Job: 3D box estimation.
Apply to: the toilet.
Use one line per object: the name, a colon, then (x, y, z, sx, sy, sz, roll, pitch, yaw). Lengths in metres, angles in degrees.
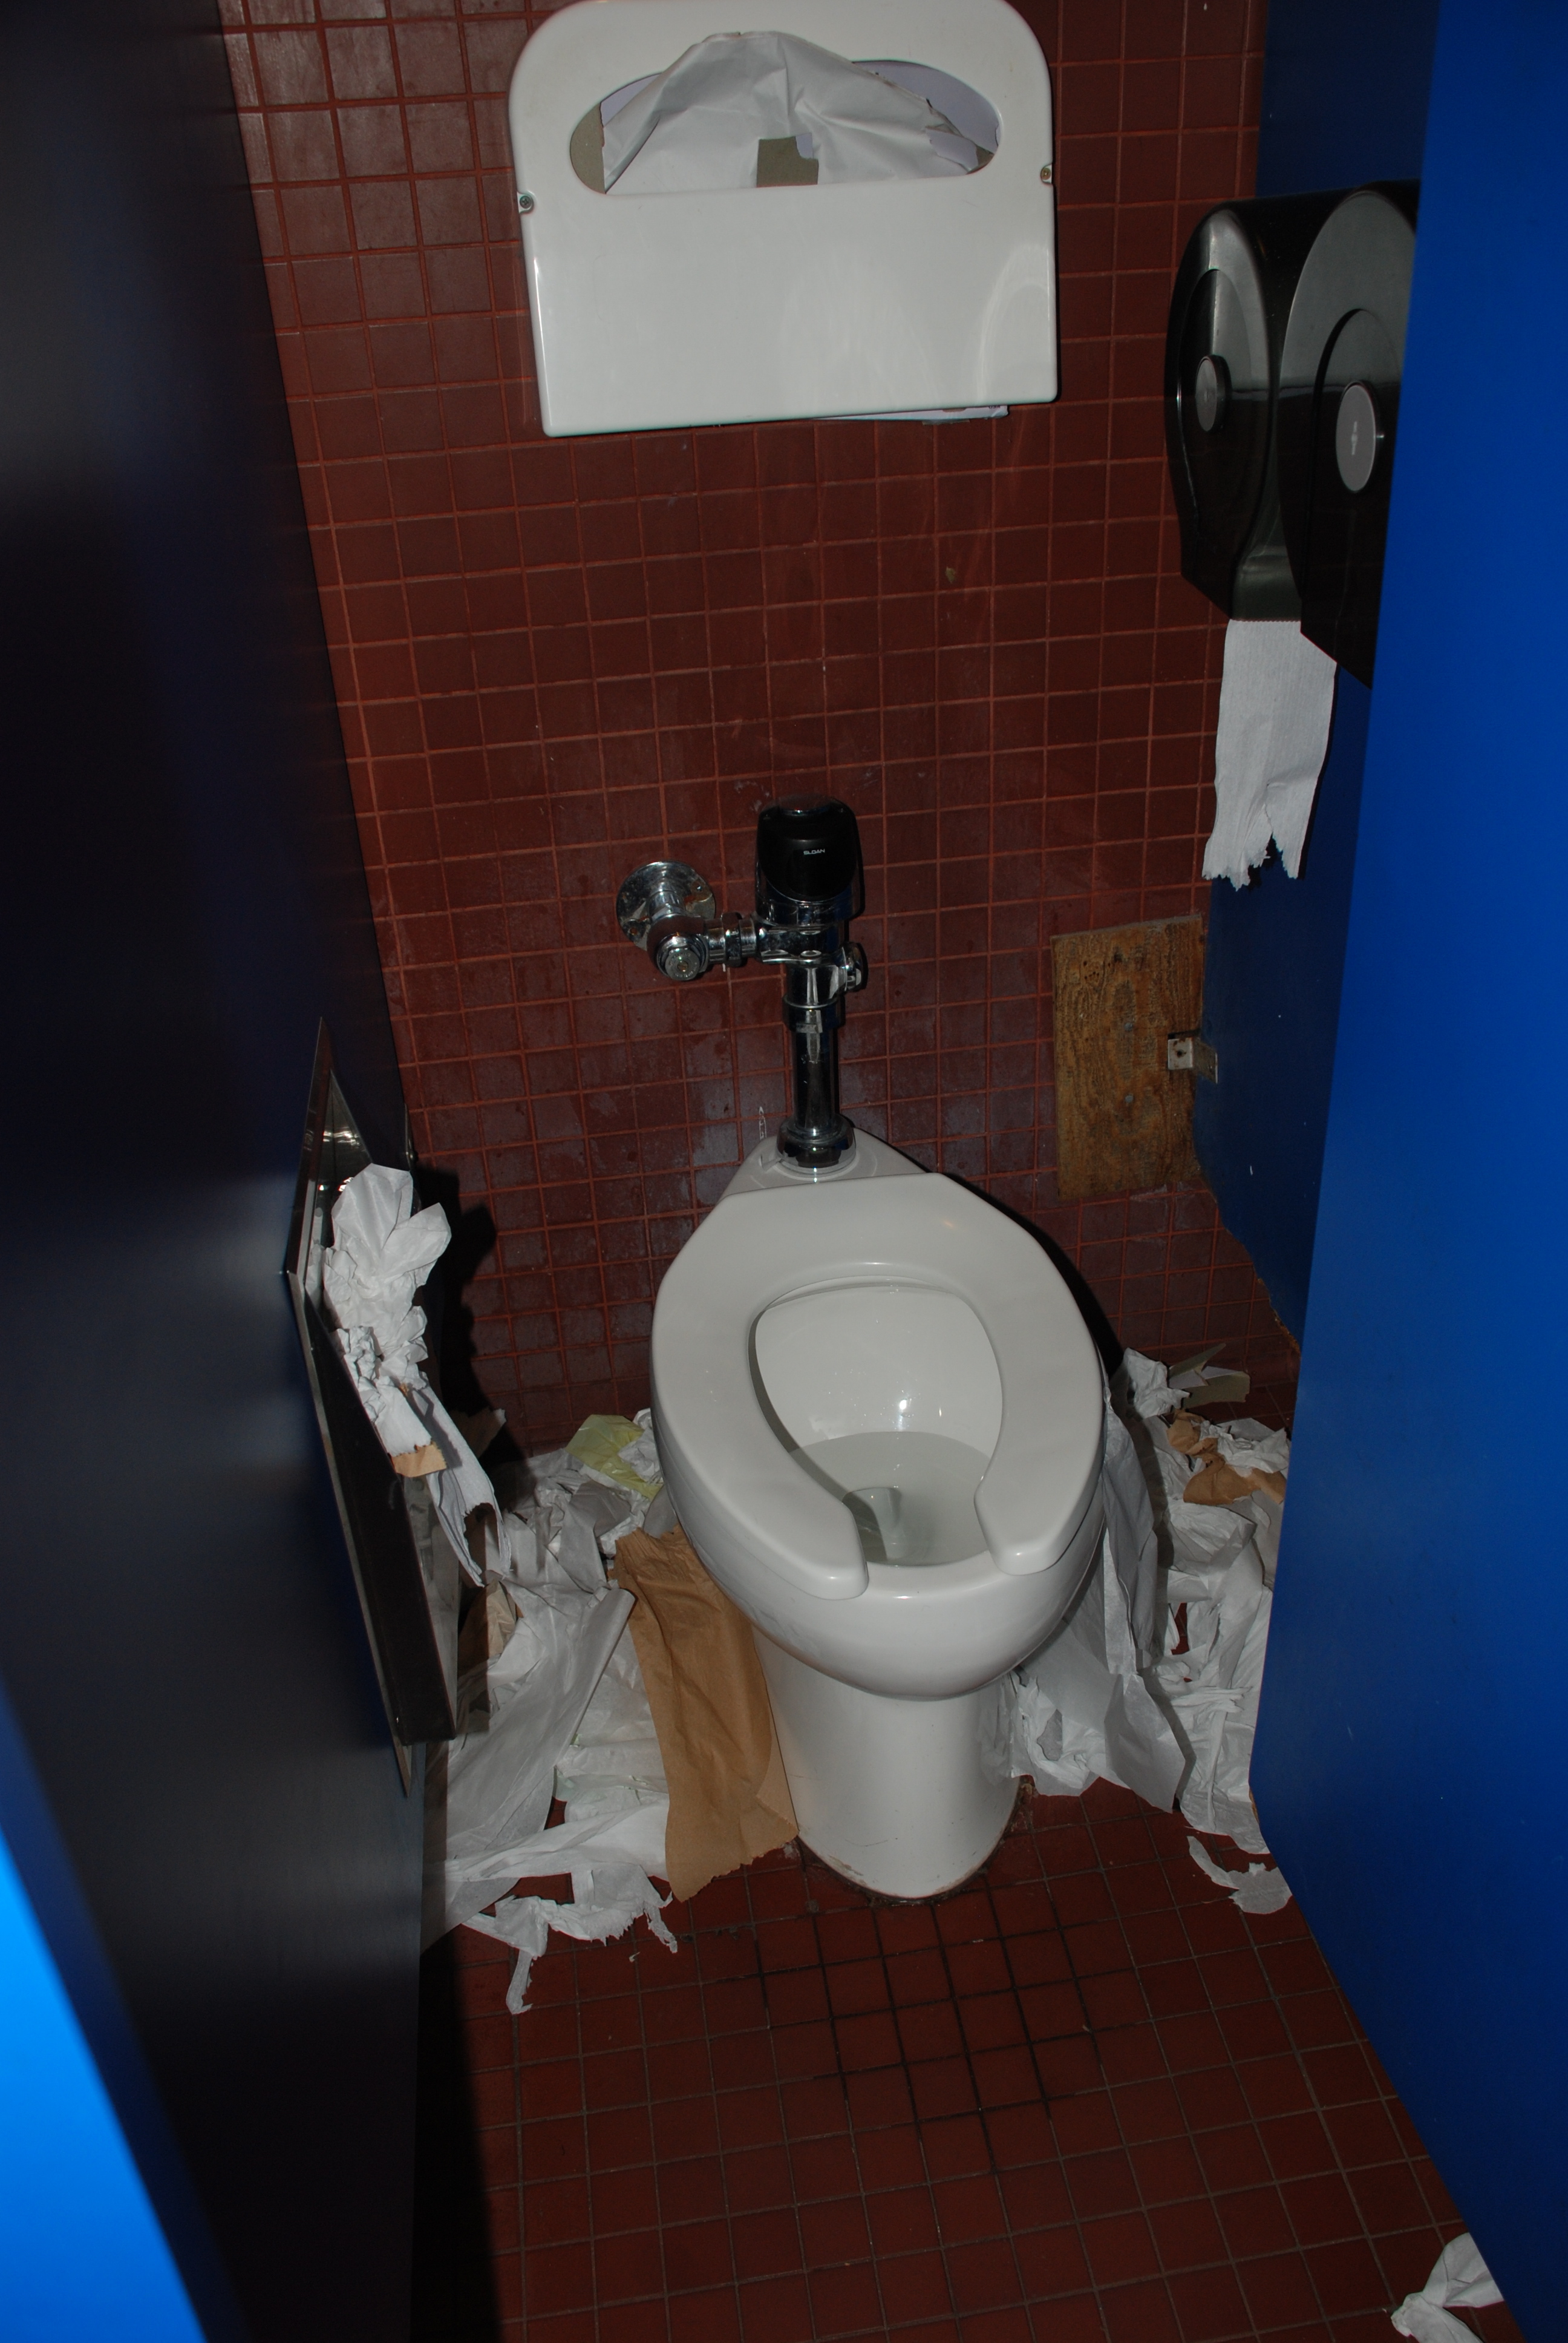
toilet: (0.081, 0.340, 1.500, 0.367, 0.494, 0.584, -8, 30, -5)

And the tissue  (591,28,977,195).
tissue : (0.009, -0.832, 1.283, 0.314, 0.109, 0.049, -10, 29, -7)

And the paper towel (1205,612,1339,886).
paper towel: (0.411, -0.367, 1.421, 0.053, 0.211, 0.119, -6, 37, -15)
